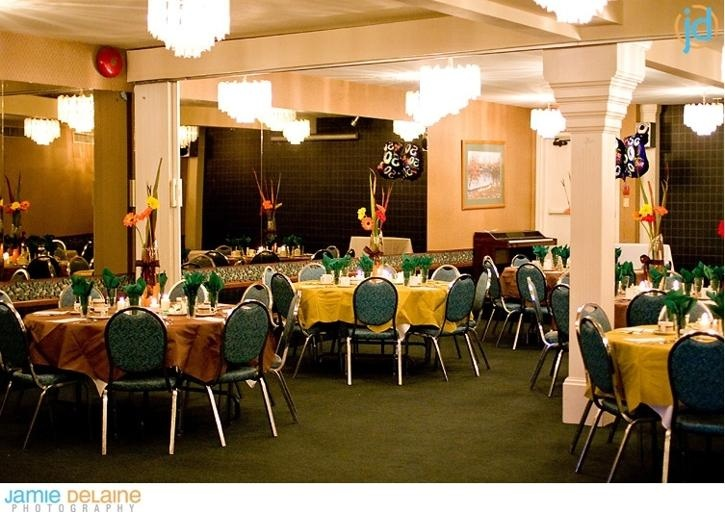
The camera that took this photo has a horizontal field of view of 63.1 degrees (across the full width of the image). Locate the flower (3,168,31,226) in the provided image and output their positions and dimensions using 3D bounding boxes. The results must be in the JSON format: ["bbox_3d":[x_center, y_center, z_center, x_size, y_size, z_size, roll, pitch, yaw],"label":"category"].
[{"bbox_3d":[-3.917,-0.611,6.679,0.058,0.576,0.300,1,3,18],"label":"flower"}]

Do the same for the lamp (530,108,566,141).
[{"bbox_3d":[3.512,-2.518,11.179,0.547,0.605,0.838,2,3,20],"label":"lamp"}]

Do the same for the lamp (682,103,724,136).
[{"bbox_3d":[6.327,-2.553,11.105,0.667,0.673,0.164,-4,6,5],"label":"lamp"}]

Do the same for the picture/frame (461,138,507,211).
[{"bbox_3d":[2.457,-1.699,12.147,1.511,1.534,0.104,-4,3,-45],"label":"picture/frame"}]

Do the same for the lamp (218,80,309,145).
[{"bbox_3d":[-1.420,-2.087,8.305,0.638,0.831,1.805,1,3,7],"label":"lamp"}]

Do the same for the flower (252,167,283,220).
[{"bbox_3d":[-1.583,-0.925,9.046,0.529,0.921,0.601,0,4,-13],"label":"flower"}]

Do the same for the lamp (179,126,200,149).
[{"bbox_3d":[-2.333,-1.585,7.829,0.107,0.322,0.420,1,3,13],"label":"lamp"}]
